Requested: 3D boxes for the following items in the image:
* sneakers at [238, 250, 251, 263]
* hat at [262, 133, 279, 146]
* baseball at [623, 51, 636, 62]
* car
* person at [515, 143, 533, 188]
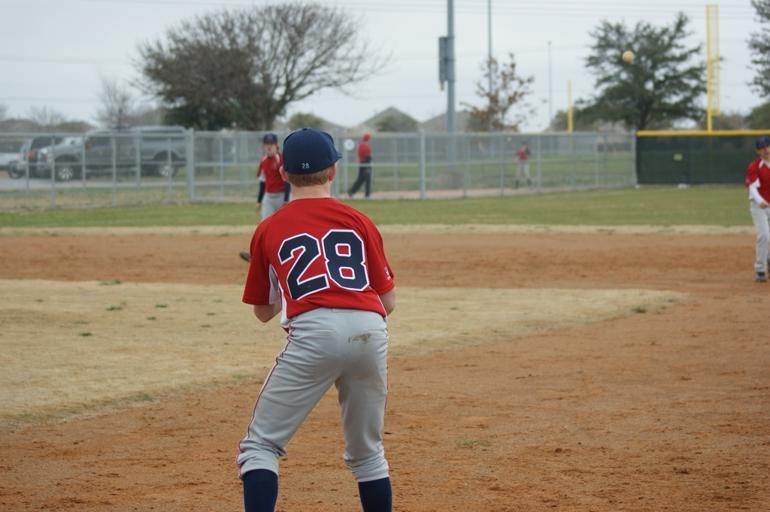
[{"bbox_3d":[-2.409,-0.035,25.329,0.261,0.239,0.092,1,-16,-25],"label":"sneakers"},{"bbox_3d":[-1.867,-1.894,24.057,0.247,0.153,0.319,2,3,4],"label":"hat"},{"bbox_3d":[4.880,-3.911,29.185,0.261,0.211,0.216,14,0,-19],"label":"baseball"},{"bbox_3d":[-5.984,-2.089,31.120,2.581,0.756,1.450,-1,1,-38],"label":"car"},{"bbox_3d":[2.704,-1.750,28.618,0.326,0.919,0.605,1,13,5],"label":"person"}]
